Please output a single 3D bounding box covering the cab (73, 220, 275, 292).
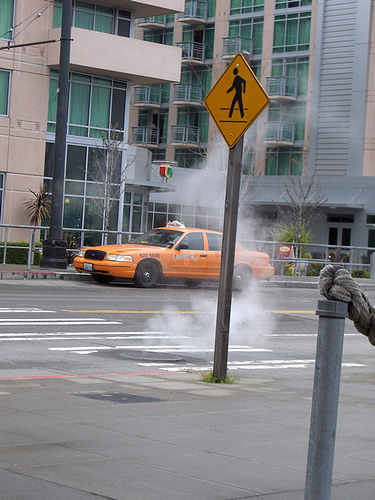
[{"bbox_3d":[-0.294,0.170,22.109,6.223,1.866,2.441,3,0,-39],"label":"cab"}]
